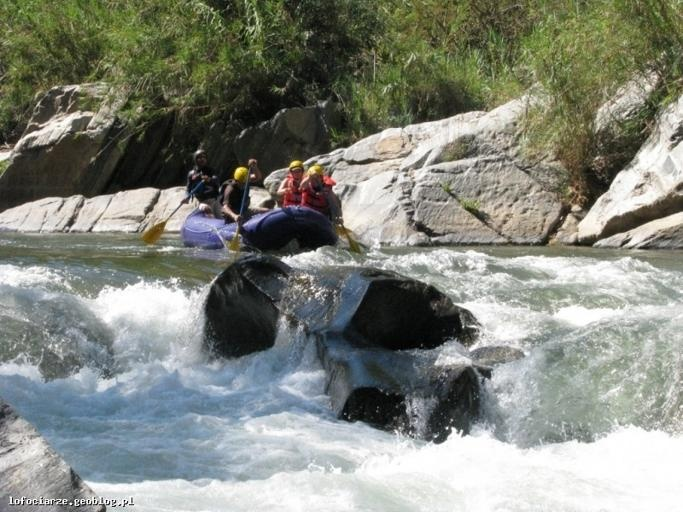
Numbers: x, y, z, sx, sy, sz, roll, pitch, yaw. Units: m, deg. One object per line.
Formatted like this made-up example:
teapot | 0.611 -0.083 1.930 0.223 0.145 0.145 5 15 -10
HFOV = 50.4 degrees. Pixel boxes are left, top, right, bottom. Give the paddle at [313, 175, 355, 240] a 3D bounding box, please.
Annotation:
paddle | -0.070 -0.736 11.915 0.200 0.331 1.822 15 33 -37

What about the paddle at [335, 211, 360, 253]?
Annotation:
paddle | 0.048 -0.346 11.588 0.164 0.142 1.288 -25 22 1

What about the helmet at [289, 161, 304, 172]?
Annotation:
helmet | -0.810 -1.558 12.509 0.238 0.205 0.370 -7 -14 -8

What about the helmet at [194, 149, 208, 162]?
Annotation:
helmet | -2.473 -1.729 12.627 0.167 0.219 0.410 7 16 -7

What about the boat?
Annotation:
boat | -1.318 -0.368 11.298 1.569 0.629 1.032 -4 -8 34

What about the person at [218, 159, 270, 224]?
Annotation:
person | -1.662 -0.967 12.408 0.747 1.175 0.738 3 26 15
